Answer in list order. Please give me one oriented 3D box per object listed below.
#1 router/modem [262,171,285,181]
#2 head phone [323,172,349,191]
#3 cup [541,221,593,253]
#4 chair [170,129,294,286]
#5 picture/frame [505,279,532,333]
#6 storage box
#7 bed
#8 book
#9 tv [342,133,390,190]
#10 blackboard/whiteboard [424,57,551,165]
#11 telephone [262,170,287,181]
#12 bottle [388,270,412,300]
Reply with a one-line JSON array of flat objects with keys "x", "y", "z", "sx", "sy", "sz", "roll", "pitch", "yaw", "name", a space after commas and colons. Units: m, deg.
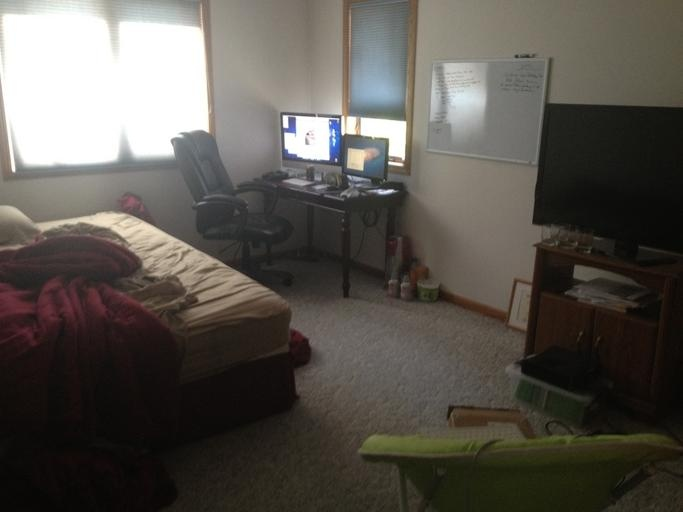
[{"x": -0.633, "y": -0.755, "z": 4.905, "sx": 0.149, "sy": 0.052, "sz": 0.108, "roll": -16, "pitch": 27, "yaw": -36, "name": "router/modem"}, {"x": -0.062, "y": -0.643, "z": 4.615, "sx": 0.162, "sy": 0.227, "sz": 0.180, "roll": 2, "pitch": 4, "yaw": 27, "name": "head phone"}, {"x": 1.393, "y": -0.108, "z": 3.180, "sx": 0.209, "sy": 0.088, "sz": 0.173, "roll": 13, "pitch": 14, "yaw": 18, "name": "cup"}, {"x": -0.889, "y": -0.376, "z": 4.496, "sx": 0.863, "sy": 1.348, "sz": 0.804, "roll": 3, "pitch": 18, "yaw": 12, "name": "chair"}, {"x": 1.287, "y": 0.363, "z": 3.781, "sx": 0.040, "sy": 0.421, "sz": 0.316, "roll": 1, "pitch": 9, "yaw": -21, "name": "picture/frame"}, {"x": 1.247, "y": 0.820, "z": 3.024, "sx": 0.236, "sy": 0.189, "sz": 0.383, "roll": -20, "pitch": 29, "yaw": -39, "name": "storage box"}, {"x": -0.883, "y": 0.143, "z": 2.547, "sx": 1.029, "sy": 0.528, "sz": 1.391, "roll": -13, "pitch": 25, "yaw": -42, "name": "bed"}, {"x": 1.577, "y": 0.224, "z": 3.046, "sx": 0.247, "sy": 0.064, "sz": 0.247, "roll": -16, "pitch": 26, "yaw": -37, "name": "book"}, {"x": 0.205, "y": -0.808, "z": 4.496, "sx": 0.407, "sy": 0.384, "sz": 0.137, "roll": 20, "pitch": 28, "yaw": 37, "name": "tv"}, {"x": 1.090, "y": -1.062, "z": 3.784, "sx": 0.034, "sy": 0.644, "sz": 0.815, "roll": -19, "pitch": 29, "yaw": -40, "name": "blackboard/whiteboard"}, {"x": -0.625, "y": -0.756, "z": 4.909, "sx": 0.162, "sy": 0.052, "sz": 0.113, "roll": -16, "pitch": 26, "yaw": -38, "name": "telephone"}, {"x": 0.504, "y": 0.239, "z": 4.436, "sx": 0.245, "sy": 0.200, "sz": 0.188, "roll": 13, "pitch": 25, "yaw": 34, "name": "bottle"}]
